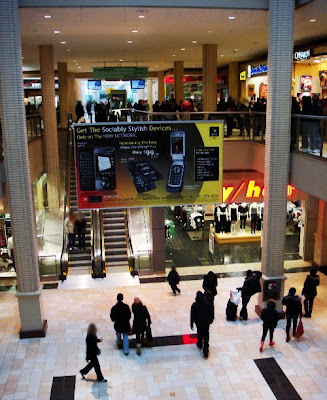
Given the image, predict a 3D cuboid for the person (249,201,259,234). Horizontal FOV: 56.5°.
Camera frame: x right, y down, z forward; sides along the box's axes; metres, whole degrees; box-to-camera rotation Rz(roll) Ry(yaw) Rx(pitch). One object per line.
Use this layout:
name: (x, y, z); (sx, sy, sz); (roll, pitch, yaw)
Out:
person: (3.771, 0.804, 12.734); (0.326, 1.361, 0.461); (0, 3, 17)

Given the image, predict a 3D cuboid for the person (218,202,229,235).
person: (2.488, 0.812, 12.777); (0.355, 1.285, 0.488); (0, 3, 13)

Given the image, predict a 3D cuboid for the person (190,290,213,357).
person: (0.644, 2.109, 5.192); (0.356, 1.266, 0.569); (-1, 3, 10)

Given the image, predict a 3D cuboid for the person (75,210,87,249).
person: (-2.926, 1.098, 10.760); (0.350, 1.333, 0.905); (-2, 4, -16)

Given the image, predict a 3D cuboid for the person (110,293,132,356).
person: (-0.731, 2.120, 5.266); (0.332, 1.284, 0.699); (-2, 3, -7)

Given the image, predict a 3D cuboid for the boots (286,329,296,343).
boots: (2.452, 2.619, 5.871); (0.095, 0.204, 0.293); (6, 39, 24)

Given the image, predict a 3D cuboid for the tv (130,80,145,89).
tv: (-1.962, -8.694, 23.007); (1.114, 0.898, 0.117); (-1, -10, 2)

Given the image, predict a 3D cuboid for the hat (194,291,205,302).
hat: (0.598, 1.570, 5.026); (0.133, 0.165, 0.293); (-1, 4, 6)

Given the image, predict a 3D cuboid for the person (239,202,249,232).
person: (3.295, 0.718, 12.589); (0.388, 1.217, 0.666); (0, 4, 18)

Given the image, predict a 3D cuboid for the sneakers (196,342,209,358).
sneakers: (0.689, 2.591, 5.372); (0.095, 0.223, 0.334); (-10, 47, -13)

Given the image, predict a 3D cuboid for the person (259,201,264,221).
person: (4.059, 0.474, 12.713); (0.150, 0.762, 0.610); (0, 4, 22)

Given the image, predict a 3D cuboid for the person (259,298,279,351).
person: (1.864, 2.169, 5.425); (0.306, 1.103, 0.899); (0, 4, 19)

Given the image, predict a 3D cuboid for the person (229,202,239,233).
person: (2.930, 0.791, 12.768); (0.329, 1.316, 0.876); (0, 4, 13)

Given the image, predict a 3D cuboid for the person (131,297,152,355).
person: (-0.385, 2.172, 5.364); (0.331, 1.172, 0.693); (-1, 3, -4)

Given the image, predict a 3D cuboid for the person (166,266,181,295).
person: (0.263, 2.100, 7.987); (0.315, 0.797, 0.260); (-1, 17, 9)

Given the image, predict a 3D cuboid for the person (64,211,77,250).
person: (-3.211, 1.119, 10.505); (0.380, 1.315, 0.702); (-2, 4, -17)

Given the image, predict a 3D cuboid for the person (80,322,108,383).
person: (-1.001, 2.183, 4.354); (0.390, 0.794, 0.270); (0, 1, 7)

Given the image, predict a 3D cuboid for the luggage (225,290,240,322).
luggage: (1.504, 2.279, 6.652); (0.261, 0.674, 0.242); (3, 4, 9)

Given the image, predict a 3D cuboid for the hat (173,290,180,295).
hat: (0.352, 2.480, 8.160); (0.134, 0.036, 0.150); (4, 14, 7)

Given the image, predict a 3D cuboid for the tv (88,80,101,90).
tv: (-5.136, -8.619, 22.777); (0.918, 0.796, 0.717); (-1, 4, -2)

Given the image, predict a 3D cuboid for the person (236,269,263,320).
person: (1.823, 2.048, 6.520); (0.511, 1.179, 0.420); (0, 4, 21)

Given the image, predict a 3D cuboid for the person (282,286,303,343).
person: (2.411, 2.126, 5.753); (0.337, 1.056, 0.353); (-3, 12, 3)
